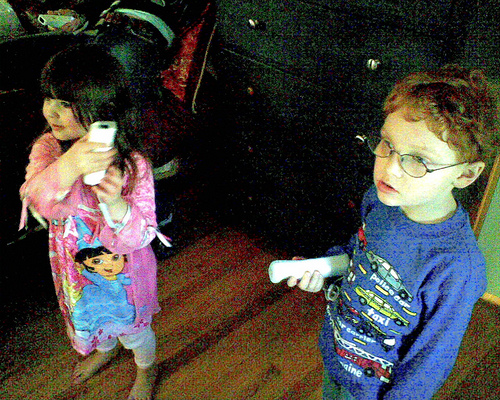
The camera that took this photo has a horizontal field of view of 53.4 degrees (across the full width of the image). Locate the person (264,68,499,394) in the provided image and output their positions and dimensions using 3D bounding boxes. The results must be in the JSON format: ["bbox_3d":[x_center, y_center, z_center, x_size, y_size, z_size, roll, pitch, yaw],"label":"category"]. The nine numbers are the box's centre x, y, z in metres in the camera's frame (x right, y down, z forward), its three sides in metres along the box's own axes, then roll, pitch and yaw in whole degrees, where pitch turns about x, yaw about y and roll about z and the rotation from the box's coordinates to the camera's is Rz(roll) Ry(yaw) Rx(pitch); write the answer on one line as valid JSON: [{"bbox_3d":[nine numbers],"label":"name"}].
[{"bbox_3d":[0.402,0.141,1.396,0.501,0.976,0.414,23,37,38],"label":"person"}]

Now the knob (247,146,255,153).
[{"bbox_3d":[0.006,-0.226,2.193,0.025,0.027,0.028,-36,59,-13],"label":"knob"}]

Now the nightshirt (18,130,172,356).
[{"bbox_3d":[-0.481,0.127,1.623,0.477,0.891,0.313,5,26,-3],"label":"nightshirt"}]

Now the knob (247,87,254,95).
[{"bbox_3d":[0.002,-0.450,2.049,0.023,0.029,0.013,-12,-2,36],"label":"knob"}]

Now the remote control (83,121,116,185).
[{"bbox_3d":[-0.423,-0.118,1.402,0.089,0.206,0.095,26,31,35],"label":"remote control"}]

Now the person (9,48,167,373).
[{"bbox_3d":[-0.508,0.120,1.683,0.395,1.158,0.424,-8,29,-10],"label":"person"}]

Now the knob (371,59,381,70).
[{"bbox_3d":[0.404,-0.433,1.585,0.024,0.028,0.014,15,9,9],"label":"knob"}]

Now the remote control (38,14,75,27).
[{"bbox_3d":[-0.653,-0.610,1.680,0.112,0.042,0.015,-9,30,-17],"label":"remote control"}]

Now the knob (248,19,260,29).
[{"bbox_3d":[0.018,-0.662,1.864,0.044,0.033,0.032,-10,29,-17],"label":"knob"}]

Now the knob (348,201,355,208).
[{"bbox_3d":[0.387,0.014,1.898,0.006,0.020,0.019,-14,11,-36],"label":"knob"}]

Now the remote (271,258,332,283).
[{"bbox_3d":[0.141,0.205,1.466,0.218,0.061,0.057,-3,-12,-7],"label":"remote"}]
